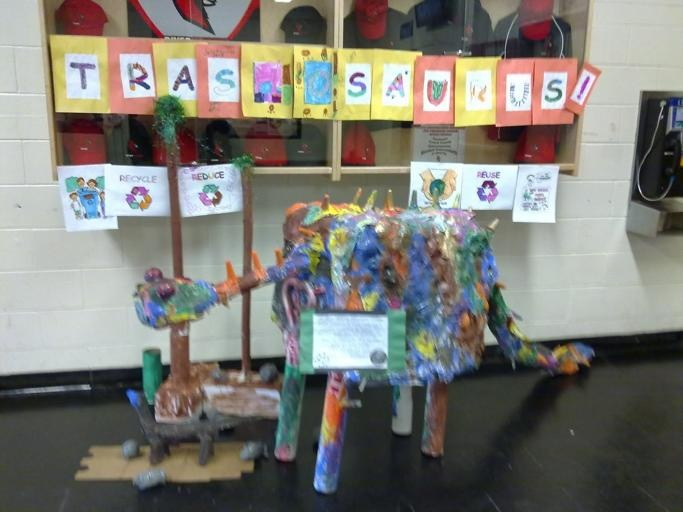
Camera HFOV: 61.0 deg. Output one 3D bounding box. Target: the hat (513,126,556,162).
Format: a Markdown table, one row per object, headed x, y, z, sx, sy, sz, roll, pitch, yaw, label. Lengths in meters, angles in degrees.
| x | y | z | sx | sy | sz | roll | pitch | yaw | label |
| --- | --- | --- | --- | --- | --- | --- | --- | --- | --- |
| 0.875 | -0.486 | 2.595 | 0.152 | 0.171 | 0.039 | -3 | 10 | -11 | hat |
